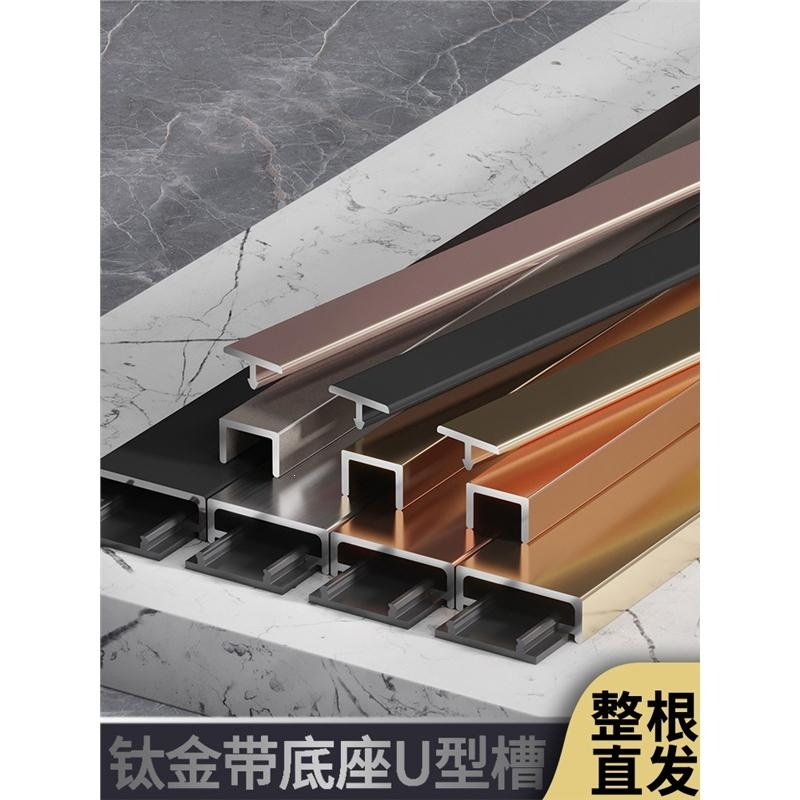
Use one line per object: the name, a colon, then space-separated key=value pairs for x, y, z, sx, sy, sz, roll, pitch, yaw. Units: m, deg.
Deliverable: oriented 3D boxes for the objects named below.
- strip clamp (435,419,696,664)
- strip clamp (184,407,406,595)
strip clamp: x=0.305 y=0.223 z=1.664 sx=0.178 sy=0.653 sz=0.056 roll=22 pitch=-54 yaw=37
strip clamp: x=-0.156 y=0.193 z=1.783 sx=0.219 sy=0.057 sz=0.389 roll=11 pitch=20 yaw=21
